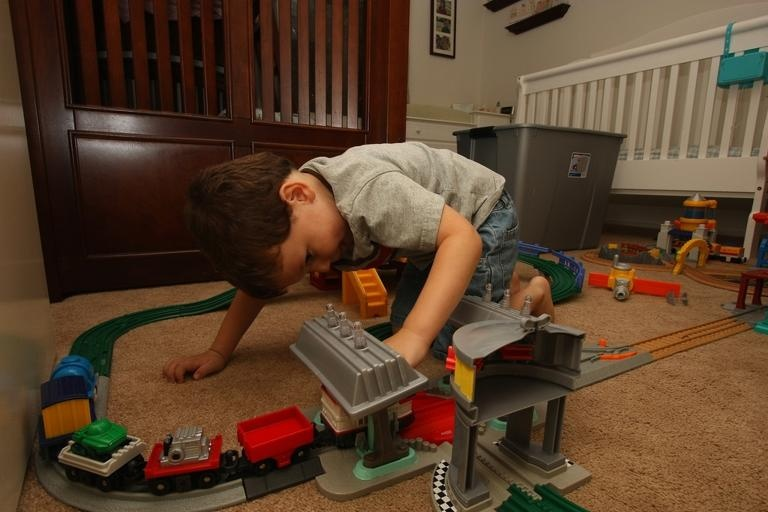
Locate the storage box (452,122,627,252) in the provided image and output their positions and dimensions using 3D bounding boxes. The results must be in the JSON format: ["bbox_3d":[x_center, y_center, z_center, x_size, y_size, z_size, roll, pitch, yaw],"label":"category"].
[{"bbox_3d":[0.915,-0.416,3.050,0.852,0.675,0.952,4,6,-8],"label":"storage box"}]

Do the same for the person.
[{"bbox_3d":[0.042,0.023,1.425,1.036,0.571,0.607,-4,7,-16],"label":"person"}]
